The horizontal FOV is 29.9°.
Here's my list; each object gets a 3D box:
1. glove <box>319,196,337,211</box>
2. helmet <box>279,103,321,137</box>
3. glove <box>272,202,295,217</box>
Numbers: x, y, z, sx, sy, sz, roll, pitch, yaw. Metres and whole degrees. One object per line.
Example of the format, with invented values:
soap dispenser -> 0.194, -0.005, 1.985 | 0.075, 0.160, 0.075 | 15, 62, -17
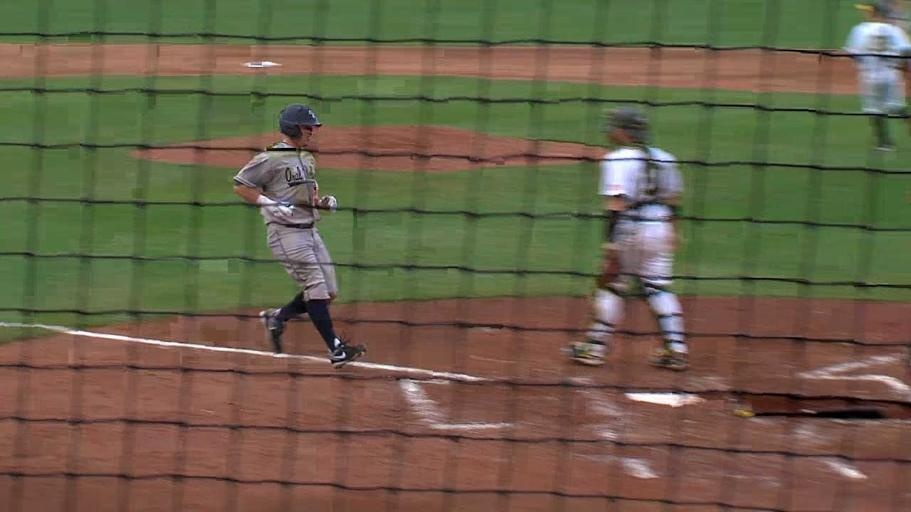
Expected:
glove -> -1.740, -0.742, 23.817 | 0.269, 0.187, 0.268 | -3, -7, -16
helmet -> -2.132, -1.883, 23.534 | 0.657, 0.372, 0.423 | 12, 12, 2
glove -> -2.336, -0.645, 23.386 | 0.243, 0.193, 0.175 | 0, 8, -3
